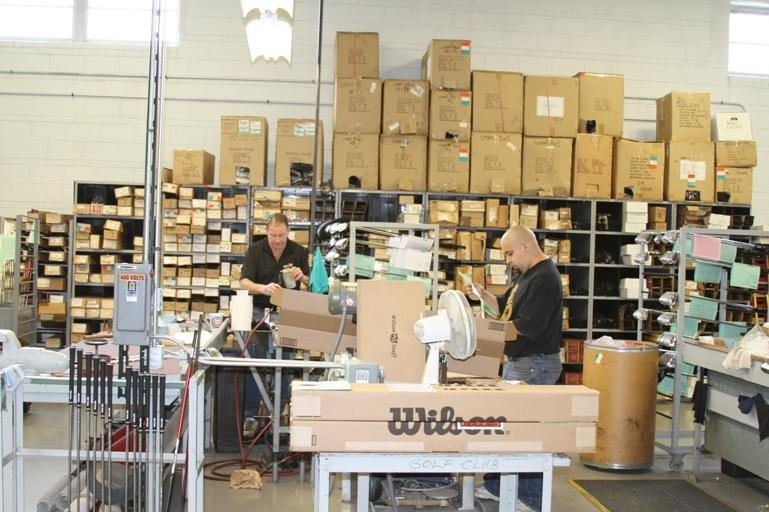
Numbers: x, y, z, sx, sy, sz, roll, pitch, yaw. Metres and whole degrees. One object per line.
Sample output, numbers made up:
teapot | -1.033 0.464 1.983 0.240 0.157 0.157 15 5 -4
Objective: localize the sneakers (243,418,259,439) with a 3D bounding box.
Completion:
sneakers | -1.334 1.695 9.504 0.150 0.169 0.132 -2 5 -7

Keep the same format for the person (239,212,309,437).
person | -1.092 0.673 9.478 0.684 2.196 0.943 -2 4 -6

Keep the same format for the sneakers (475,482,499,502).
sneakers | 0.920 2.106 8.537 0.148 0.043 0.113 10 29 10

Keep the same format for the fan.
fan | 0.491 0.642 7.568 0.491 0.795 0.479 5 16 10

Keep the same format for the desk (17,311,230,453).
desk | -2.100 1.178 8.138 1.645 1.169 1.330 -1 5 -1
